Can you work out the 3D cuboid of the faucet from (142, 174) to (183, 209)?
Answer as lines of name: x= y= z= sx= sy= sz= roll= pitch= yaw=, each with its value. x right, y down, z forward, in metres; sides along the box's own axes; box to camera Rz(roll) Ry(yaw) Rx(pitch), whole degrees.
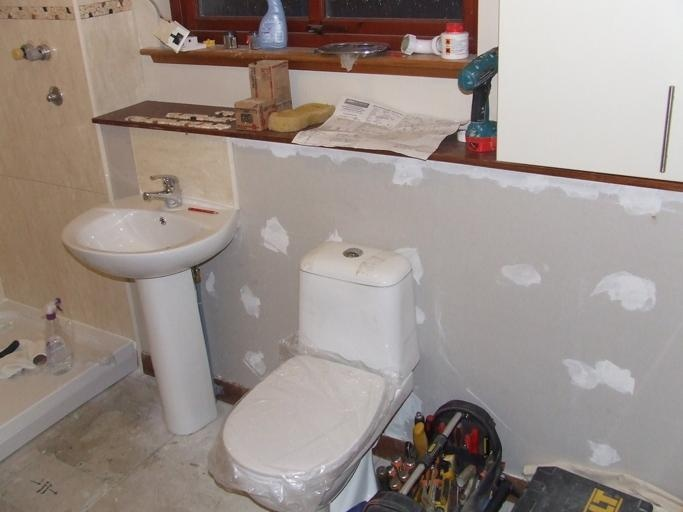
faucet: x=-0.666 y=-0.246 z=2.069 sx=0.171 sy=0.152 sz=0.092 roll=-3 pitch=33 yaw=-17

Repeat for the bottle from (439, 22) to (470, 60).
bottle: x=0.352 y=-0.674 z=1.719 sx=0.104 sy=0.125 sz=0.109 roll=-5 pitch=31 yaw=-7

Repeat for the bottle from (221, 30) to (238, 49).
bottle: x=-0.435 y=-0.839 z=2.107 sx=0.072 sy=0.083 sz=0.044 roll=-7 pitch=30 yaw=-18

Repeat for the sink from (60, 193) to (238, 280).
sink: x=-0.726 y=-0.034 z=2.006 sx=0.579 sy=0.188 sz=0.444 roll=9 pitch=31 yaw=17
